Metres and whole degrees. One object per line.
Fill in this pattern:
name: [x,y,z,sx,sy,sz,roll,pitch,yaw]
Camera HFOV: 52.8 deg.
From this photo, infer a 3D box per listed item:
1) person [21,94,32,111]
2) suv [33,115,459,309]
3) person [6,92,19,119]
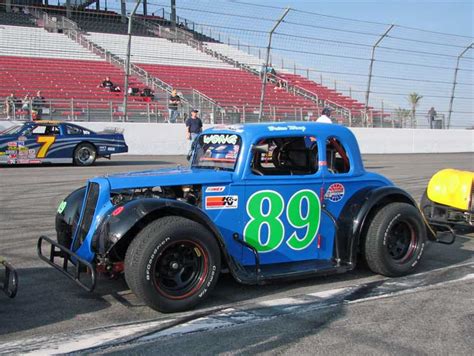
person: [-8.678,-3.042,19.730,0.364,0.562,1.230,-4,11,-24]
suv: [0.077,0.312,5.676,4.222,1.909,1.377,-3,11,-21]
person: [-9.046,-2.807,19.265,0.427,0.908,0.557,-5,12,-24]
